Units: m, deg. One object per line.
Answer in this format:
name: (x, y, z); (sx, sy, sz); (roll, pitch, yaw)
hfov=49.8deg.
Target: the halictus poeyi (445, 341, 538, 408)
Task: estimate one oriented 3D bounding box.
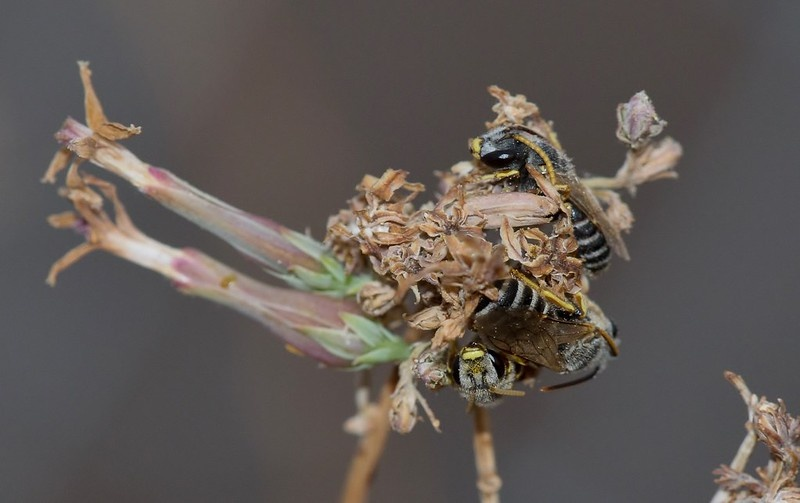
halictus poeyi: (0.228, 0.336, 2.350); (0.181, 0.091, 0.159); (-20, 67, 3)
